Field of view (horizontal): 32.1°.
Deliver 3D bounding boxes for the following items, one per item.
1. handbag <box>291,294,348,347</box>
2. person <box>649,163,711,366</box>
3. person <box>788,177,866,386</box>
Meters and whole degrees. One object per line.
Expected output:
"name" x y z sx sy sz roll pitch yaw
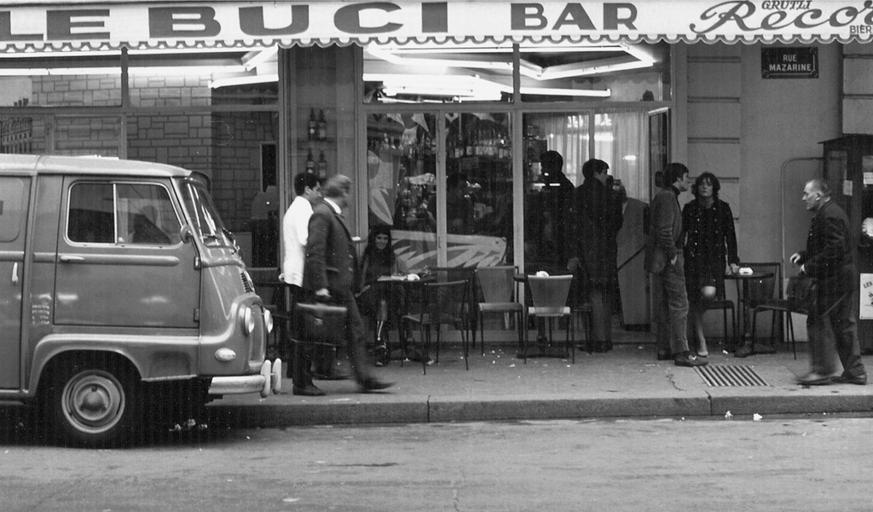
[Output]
"handbag" -1.605 0.912 21.018 0.719 0.660 0.259 4 22 10
"person" 3.527 0.107 22.898 0.775 3.033 0.719 -2 1 -1
"person" 5.565 0.352 21.533 0.843 2.893 0.465 -2 1 13
